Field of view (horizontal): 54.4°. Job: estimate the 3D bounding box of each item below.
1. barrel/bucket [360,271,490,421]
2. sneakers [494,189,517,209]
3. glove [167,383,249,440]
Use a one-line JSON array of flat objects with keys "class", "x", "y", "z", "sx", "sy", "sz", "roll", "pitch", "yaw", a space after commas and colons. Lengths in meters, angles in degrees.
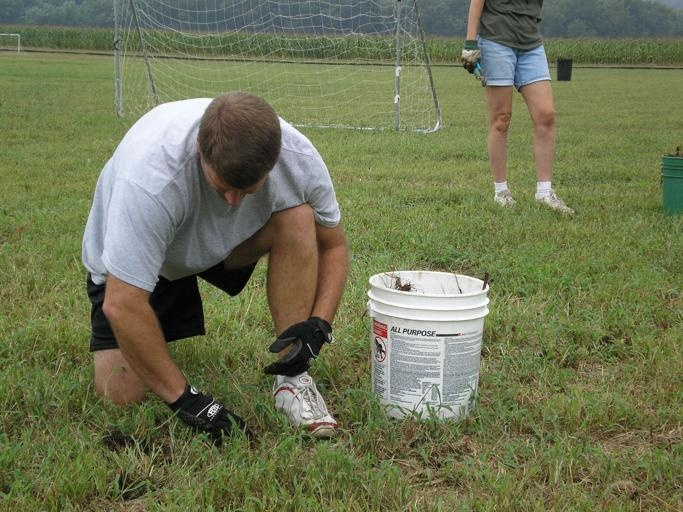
[{"class": "barrel/bucket", "x": 0.369, "y": 0.331, "z": 3.264, "sx": 0.534, "sy": 0.673, "sz": 0.624, "roll": -1, "pitch": 11, "yaw": -4}, {"class": "sneakers", "x": 1.377, "y": -0.463, "z": 5.568, "sx": 0.084, "sy": 0.122, "sz": 0.257, "roll": -3, "pitch": 13, "yaw": -5}, {"class": "glove", "x": -0.586, "y": 0.697, "z": 2.968, "sx": 0.371, "sy": 0.244, "sz": 0.116, "roll": 6, "pitch": 17, "yaw": 14}]
